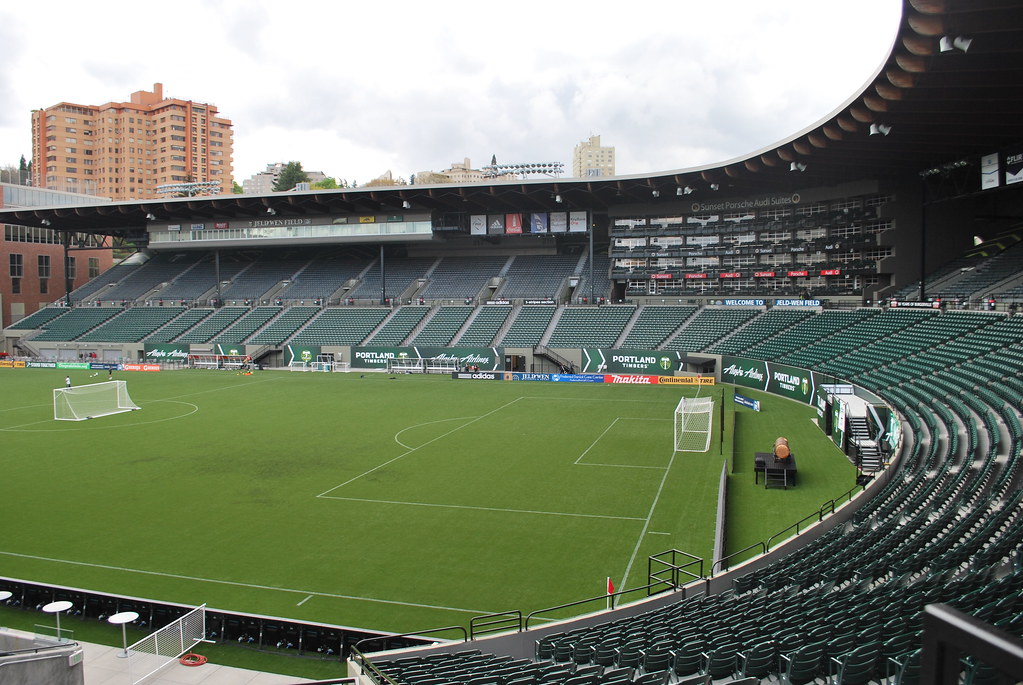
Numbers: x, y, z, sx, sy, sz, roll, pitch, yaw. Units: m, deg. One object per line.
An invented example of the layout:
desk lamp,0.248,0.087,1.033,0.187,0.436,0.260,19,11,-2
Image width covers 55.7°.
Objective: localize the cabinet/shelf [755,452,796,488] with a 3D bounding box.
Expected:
cabinet/shelf,13.010,6.345,47.771,1.368,0.717,1.958,3,15,18
